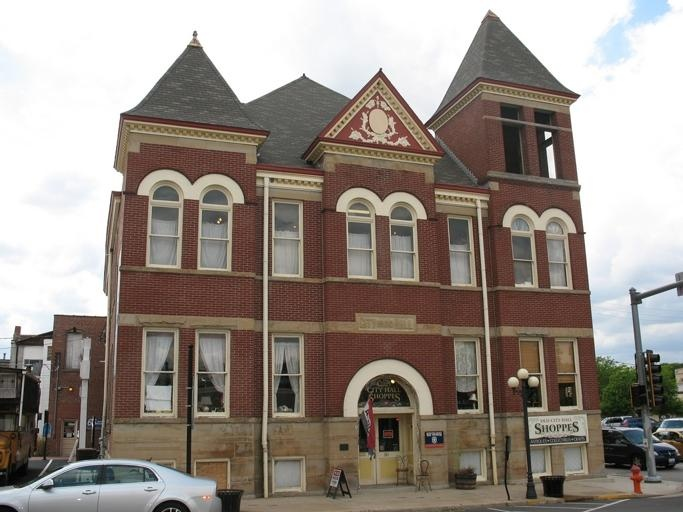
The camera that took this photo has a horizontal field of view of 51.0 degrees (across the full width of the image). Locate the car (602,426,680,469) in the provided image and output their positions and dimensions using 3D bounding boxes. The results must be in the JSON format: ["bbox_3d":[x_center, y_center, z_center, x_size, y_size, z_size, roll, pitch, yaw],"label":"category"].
[{"bbox_3d":[13.835,8.971,33.571,3.215,1.879,2.064,-9,-18,24],"label":"car"}]

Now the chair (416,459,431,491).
[{"bbox_3d":[3.005,8.001,26.350,0.572,1.077,0.243,1,-19,-10],"label":"chair"}]

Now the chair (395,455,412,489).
[{"bbox_3d":[2.294,7.971,26.855,0.599,1.075,0.242,-3,-18,3],"label":"chair"}]

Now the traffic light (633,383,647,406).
[{"bbox_3d":[11.304,5.286,27.328,0.597,0.827,0.562,-14,-21,34],"label":"traffic light"}]

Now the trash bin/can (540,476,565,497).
[{"bbox_3d":[7.406,8.053,25.083,0.829,0.517,0.797,-15,-21,40],"label":"trash bin/can"}]
